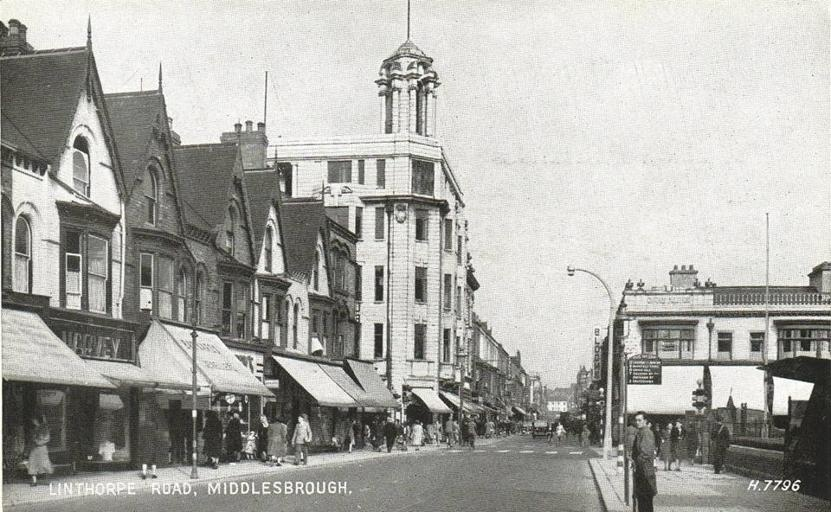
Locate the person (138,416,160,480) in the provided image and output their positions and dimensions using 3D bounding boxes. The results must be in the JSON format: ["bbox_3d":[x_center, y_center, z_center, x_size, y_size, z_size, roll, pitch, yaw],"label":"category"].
[{"bbox_3d":[-11.856,8.220,70.922,0.901,3.007,0.975,-9,-5,18],"label":"person"}]
